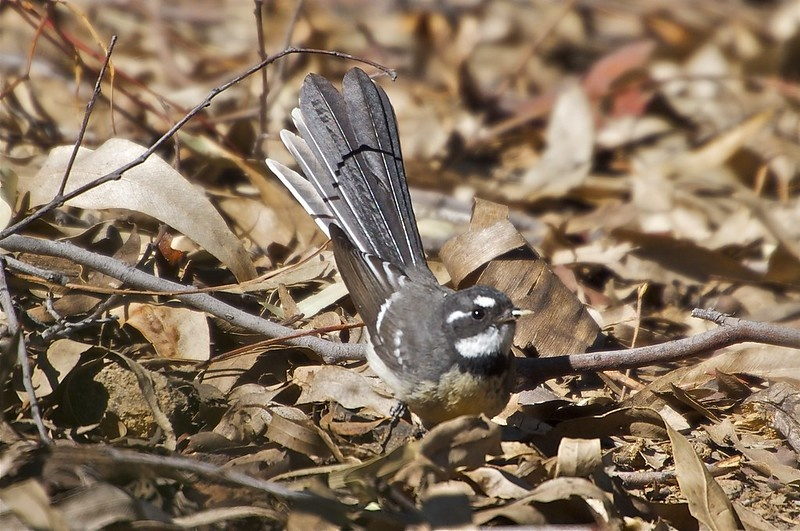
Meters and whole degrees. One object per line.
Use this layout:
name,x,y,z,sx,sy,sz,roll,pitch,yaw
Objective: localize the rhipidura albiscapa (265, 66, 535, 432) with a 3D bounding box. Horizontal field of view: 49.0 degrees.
rhipidura albiscapa,0.159,-0.050,6.058,1.151,1.723,2.770,-21,46,-16
